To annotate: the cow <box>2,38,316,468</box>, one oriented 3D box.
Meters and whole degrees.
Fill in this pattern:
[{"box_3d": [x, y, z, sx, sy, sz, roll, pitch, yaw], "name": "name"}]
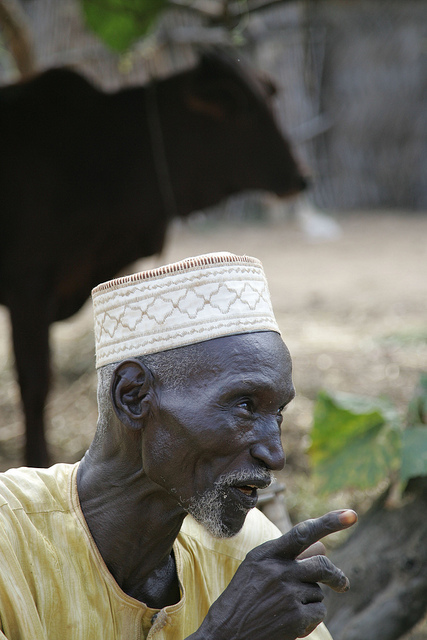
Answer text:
[{"box_3d": [-0.268, -0.148, 3.696, 0.629, 1.577, 1.235, -21, 24, -39], "name": "cow"}]
